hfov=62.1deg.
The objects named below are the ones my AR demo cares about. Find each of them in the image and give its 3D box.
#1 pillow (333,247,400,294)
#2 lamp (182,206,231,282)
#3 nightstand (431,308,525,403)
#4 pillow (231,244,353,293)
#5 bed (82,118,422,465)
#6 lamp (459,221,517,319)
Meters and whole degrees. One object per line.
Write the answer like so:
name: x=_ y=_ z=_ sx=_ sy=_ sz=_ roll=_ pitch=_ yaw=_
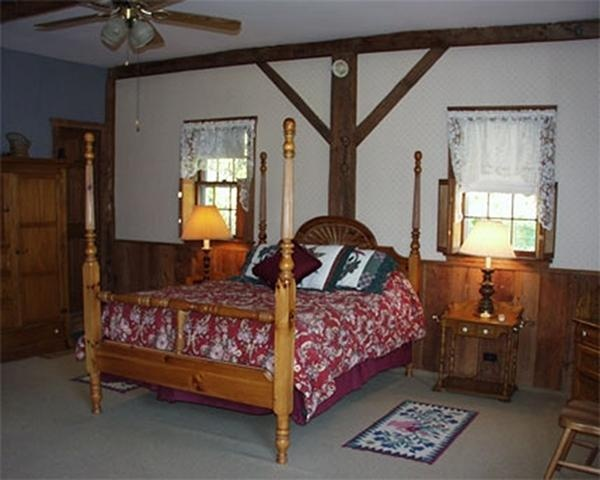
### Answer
pillow: x=0.606 y=0.293 z=4.717 sx=0.391 sy=0.118 sz=0.440 roll=6 pitch=53 yaw=25
lamp: x=-1.082 y=0.126 z=5.797 sx=0.571 sy=1.069 sz=0.571 roll=0 pitch=-4 yaw=-41
nightstand: x=1.689 y=1.014 z=4.736 sx=0.779 sy=0.791 sz=0.688 roll=3 pitch=5 yaw=24
pillow: x=-0.068 y=0.239 z=4.876 sx=0.710 sy=0.219 sz=0.583 roll=6 pitch=40 yaw=26
bed: x=-0.139 y=0.530 z=4.711 sx=1.859 sy=2.035 sz=2.495 roll=-2 pitch=-12 yaw=-41
lamp: x=1.777 y=0.249 z=4.682 sx=0.510 sy=0.864 sz=0.431 roll=-3 pitch=6 yaw=-39
